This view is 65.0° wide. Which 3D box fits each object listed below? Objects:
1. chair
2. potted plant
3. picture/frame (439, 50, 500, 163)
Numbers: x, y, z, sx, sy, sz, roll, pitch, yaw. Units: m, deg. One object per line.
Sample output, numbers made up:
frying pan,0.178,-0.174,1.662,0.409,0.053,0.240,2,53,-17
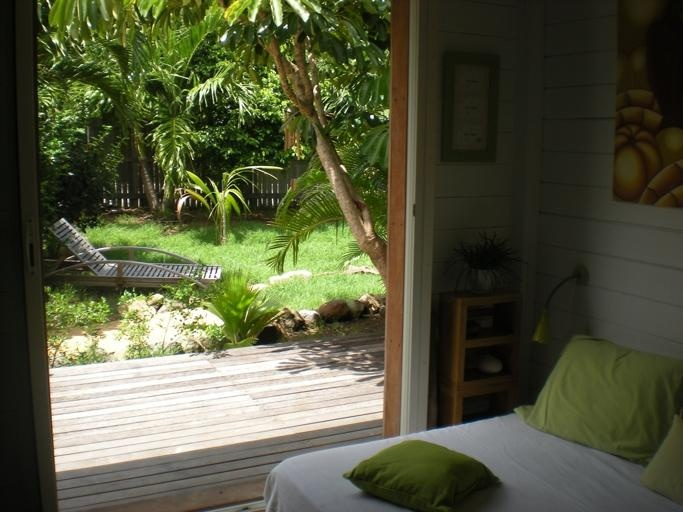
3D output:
chair,-2.513,0.102,7.125,2.549,0.948,0.972,1,16,-9
potted plant,0.786,0.038,3.072,0.334,0.255,0.331,-8,15,-32
picture/frame,0.725,-0.834,2.983,0.029,0.567,0.388,-12,20,-32
